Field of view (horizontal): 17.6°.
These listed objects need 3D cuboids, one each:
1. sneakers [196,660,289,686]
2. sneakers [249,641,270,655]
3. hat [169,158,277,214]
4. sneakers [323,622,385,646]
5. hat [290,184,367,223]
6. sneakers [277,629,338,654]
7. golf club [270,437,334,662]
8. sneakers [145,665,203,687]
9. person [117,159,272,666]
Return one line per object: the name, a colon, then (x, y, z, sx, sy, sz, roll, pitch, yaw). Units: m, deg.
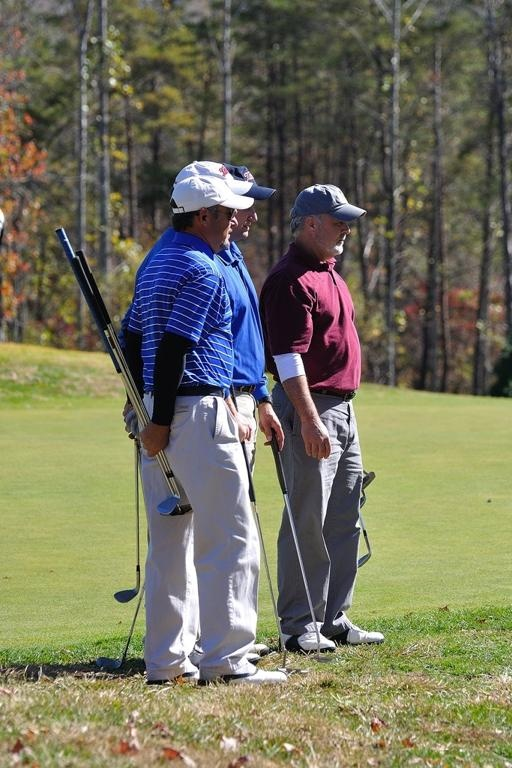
sneakers: (-0.061, 1.367, 7.579, 0.397, 0.140, 0.145, -1, -6, -13)
sneakers: (0.012, 1.318, 8.090, 0.041, 0.053, 0.115, 5, 5, 17)
hat: (-0.152, -0.867, 7.707, 0.462, 0.202, 0.305, -3, 26, -13)
sneakers: (0.490, 1.296, 8.400, 0.312, 0.131, 0.109, -2, 3, 14)
hat: (0.347, -0.908, 8.453, 0.300, 0.176, 0.195, -6, 10, 13)
sneakers: (0.257, 1.306, 8.243, 0.291, 0.129, 0.110, -5, -7, 24)
golf club: (0.191, 0.824, 8.157, 0.289, 1.029, 0.173, -11, 7, 27)
sneakers: (-0.364, 1.368, 7.598, 0.246, 0.118, 0.093, -3, -1, -5)
person: (-0.278, 0.168, 7.699, 0.592, 2.233, 0.578, 1, 0, -6)
